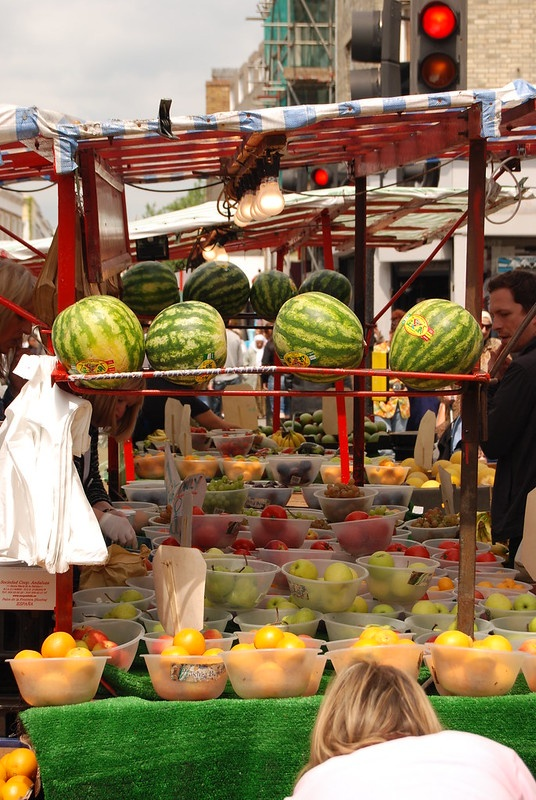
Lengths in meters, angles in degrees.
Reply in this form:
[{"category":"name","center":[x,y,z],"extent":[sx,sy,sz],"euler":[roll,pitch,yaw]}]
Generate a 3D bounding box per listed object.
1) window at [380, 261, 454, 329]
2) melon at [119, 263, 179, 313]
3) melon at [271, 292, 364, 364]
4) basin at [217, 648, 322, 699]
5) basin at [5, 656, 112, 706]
[{"category":"window","center":[3.187,-2.308,17.280],"extent":[1.418,1.249,0.778],"euler":[14,33,29]},{"category":"melon","center":[-0.590,-0.605,4.502],"extent":[0.355,0.251,0.267],"euler":[-8,6,20]},{"category":"melon","center":[0.143,-0.198,2.443],"extent":[0.252,0.223,0.249],"euler":[-3,9,1]},{"category":"basin","center":[-0.002,0.771,2.368],"extent":[0.315,0.122,0.310],"euler":[0,-22,0]},{"category":"basin","center":[-0.561,0.741,2.240],"extent":[0.183,0.077,0.175],"euler":[0,-6,0]}]
